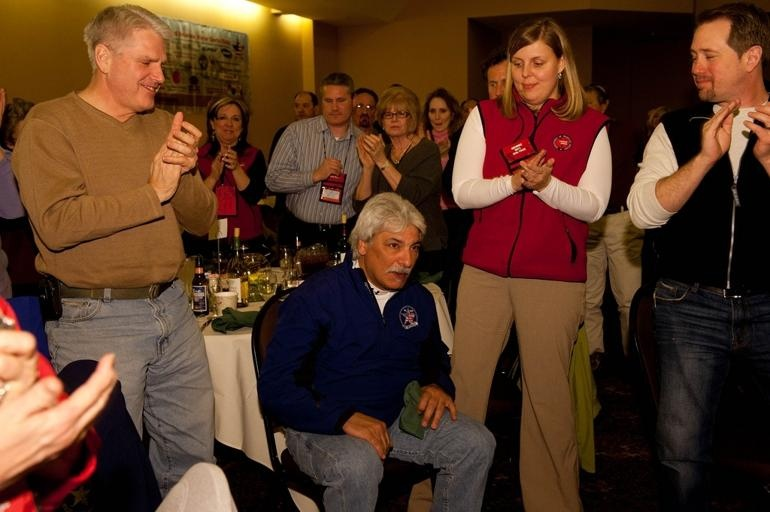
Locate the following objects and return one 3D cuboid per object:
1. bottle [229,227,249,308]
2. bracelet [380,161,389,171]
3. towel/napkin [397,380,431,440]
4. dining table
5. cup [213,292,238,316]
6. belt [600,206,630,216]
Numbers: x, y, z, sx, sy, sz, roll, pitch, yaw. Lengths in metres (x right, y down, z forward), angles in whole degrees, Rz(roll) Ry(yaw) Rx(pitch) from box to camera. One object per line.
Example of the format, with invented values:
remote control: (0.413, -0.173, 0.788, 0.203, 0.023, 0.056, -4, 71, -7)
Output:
bottle: (-0.856, 0.070, 3.502, 0.156, 0.464, 0.158, 2, 18, -1)
bracelet: (-0.007, -0.612, 4.146, 0.049, 0.035, 0.012, -46, 4, 3)
towel/napkin: (0.124, 0.684, 2.634, 0.076, 0.206, 0.150, -7, -20, 33)
dining table: (-0.160, 0.543, 3.310, 1.097, 0.579, 1.073, -12, 0, 44)
cup: (-0.855, 0.264, 3.206, 0.108, 0.095, 0.113, 0, 3, 0)
belt: (1.880, -0.356, 4.902, 0.156, 0.062, 0.116, -5, 0, -11)
